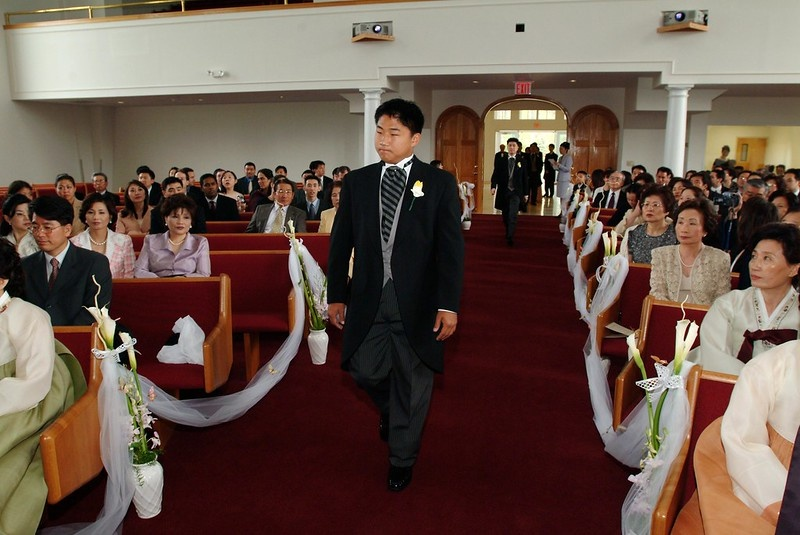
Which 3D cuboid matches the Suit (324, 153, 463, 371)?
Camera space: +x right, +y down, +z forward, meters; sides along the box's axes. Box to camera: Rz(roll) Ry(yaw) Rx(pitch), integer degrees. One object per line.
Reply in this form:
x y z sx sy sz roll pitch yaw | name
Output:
-0.042 -0.003 3.102 0.737 1.255 0.343 3 11 7 | Suit

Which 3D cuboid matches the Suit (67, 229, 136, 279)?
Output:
-2.334 -0.098 4.141 0.373 0.440 0.229 -2 1 -17 | Suit

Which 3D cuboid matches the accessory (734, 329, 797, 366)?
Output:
1.956 0.475 2.823 0.221 0.155 0.224 -12 -24 42 | accessory

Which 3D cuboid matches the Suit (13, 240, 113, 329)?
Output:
-2.374 0.114 3.627 0.585 0.536 0.328 11 10 -30 | Suit

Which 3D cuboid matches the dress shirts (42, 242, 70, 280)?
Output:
-2.353 -0.047 3.628 0.153 0.240 0.082 2 7 -7 | dress shirts

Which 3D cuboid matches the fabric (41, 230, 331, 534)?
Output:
-1.312 0.408 3.459 1.725 1.161 1.265 -3 4 -6 | fabric

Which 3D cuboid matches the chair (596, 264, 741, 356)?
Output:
2.162 0.331 4.362 1.031 1.069 0.804 2 3 19 | chair

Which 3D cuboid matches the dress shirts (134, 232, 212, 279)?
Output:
-1.988 -0.089 4.644 0.521 0.415 0.406 1 -4 -1 | dress shirts

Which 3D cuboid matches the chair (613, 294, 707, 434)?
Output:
1.798 0.735 3.602 0.451 0.819 0.599 13 -37 11 | chair

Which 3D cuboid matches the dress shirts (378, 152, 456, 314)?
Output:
0.146 -0.158 2.992 0.557 0.814 0.204 0 0 4 | dress shirts

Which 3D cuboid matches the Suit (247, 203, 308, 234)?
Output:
-1.520 -0.608 6.632 0.519 0.447 0.273 3 -14 14 | Suit

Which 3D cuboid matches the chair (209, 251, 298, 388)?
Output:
-1.386 0.451 4.908 0.754 1.089 0.720 -1 10 -13 | chair

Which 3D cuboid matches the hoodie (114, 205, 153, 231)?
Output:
-3.430 -0.636 6.835 0.430 0.349 0.236 -2 1 -36 | hoodie

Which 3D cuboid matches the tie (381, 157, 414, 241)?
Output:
-0.043 -0.373 3.011 0.114 0.423 0.036 5 5 -34 | tie
